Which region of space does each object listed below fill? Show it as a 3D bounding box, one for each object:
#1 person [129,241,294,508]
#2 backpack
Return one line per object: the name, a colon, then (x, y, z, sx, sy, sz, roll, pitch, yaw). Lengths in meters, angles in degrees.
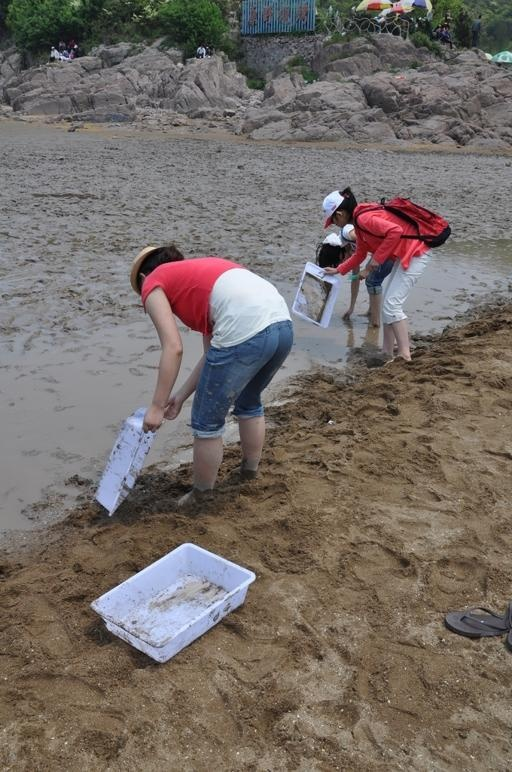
person: (-0.206, 0.042, 3.482, 0.704, 1.266, 0.430, -6, 22, -19)
backpack: (1.056, -1.147, 5.304, 0.547, 0.242, 0.339, 29, 46, 0)
